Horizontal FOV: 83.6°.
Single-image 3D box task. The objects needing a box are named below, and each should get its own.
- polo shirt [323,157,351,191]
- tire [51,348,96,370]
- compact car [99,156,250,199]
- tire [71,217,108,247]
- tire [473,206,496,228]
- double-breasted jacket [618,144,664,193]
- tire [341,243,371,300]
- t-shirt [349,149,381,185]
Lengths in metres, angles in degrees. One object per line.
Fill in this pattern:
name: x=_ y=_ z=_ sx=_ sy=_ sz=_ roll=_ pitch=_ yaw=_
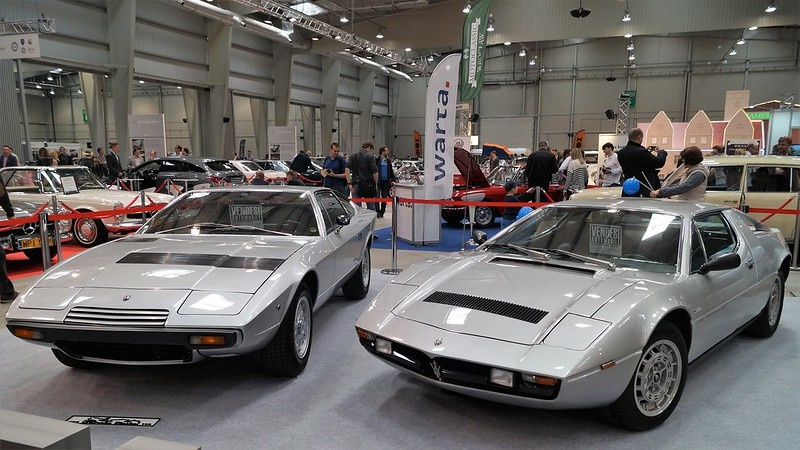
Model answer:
polo shirt: x=-1.754 y=-1.457 z=12.096 sx=0.754 sy=0.896 sz=0.523 roll=8 pitch=14 yaw=26
tire: x=-3.711 y=1.565 z=5.128 sx=0.396 sy=0.153 sz=0.436 roll=0 pitch=0 yaw=6
compact car: x=-7.933 y=-1.556 z=15.344 sx=4.304 sy=1.394 sz=1.871 roll=1 pitch=13 yaw=4
tire: x=-6.570 y=0.119 z=9.530 sx=0.662 sy=0.637 sz=0.248 roll=-1 pitch=4 yaw=3
tire: x=2.180 y=-0.231 z=11.760 sx=0.569 sy=0.543 sz=0.215 roll=-2 pitch=2 yaw=-10
double-breasted jacket: x=4.747 y=-1.165 z=8.996 sx=1.082 sy=1.334 sz=0.604 roll=1 pitch=0 yaw=9
tire: x=-0.662 y=0.684 z=6.564 sx=0.287 sy=0.833 sz=0.861 roll=0 pitch=4 yaw=20
t-shirt: x=-0.936 y=-1.458 z=11.561 sx=0.911 sy=0.931 sz=0.523 roll=5 pitch=7 yaw=25
